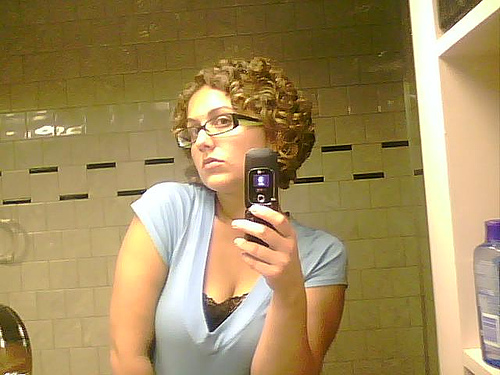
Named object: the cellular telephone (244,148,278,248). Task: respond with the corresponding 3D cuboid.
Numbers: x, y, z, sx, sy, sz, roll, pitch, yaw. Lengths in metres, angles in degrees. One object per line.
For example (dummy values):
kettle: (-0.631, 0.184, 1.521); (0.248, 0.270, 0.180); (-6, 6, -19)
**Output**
cellular telephone: (0.029, 0.005, 1.772); (0.095, 0.224, 0.055); (-5, -5, 0)
